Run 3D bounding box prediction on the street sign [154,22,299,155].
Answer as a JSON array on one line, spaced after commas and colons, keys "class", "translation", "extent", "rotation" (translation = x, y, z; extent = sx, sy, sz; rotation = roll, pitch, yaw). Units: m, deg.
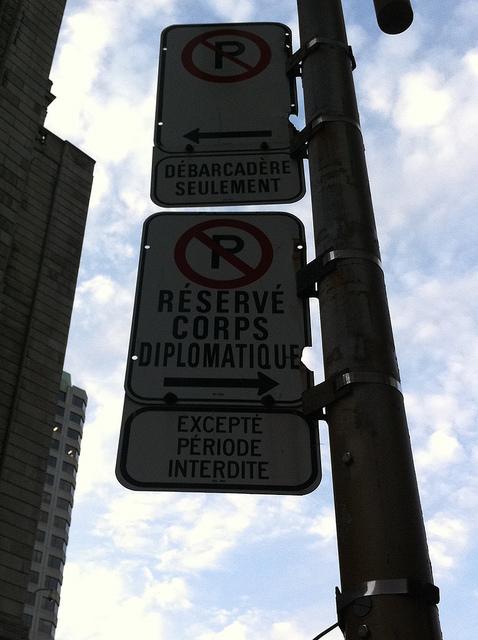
[{"class": "street sign", "translation": [-0.069, -1.240, 3.480], "extent": [0.748, 0.892, 0.039], "rotation": [0, -20, 1]}]
